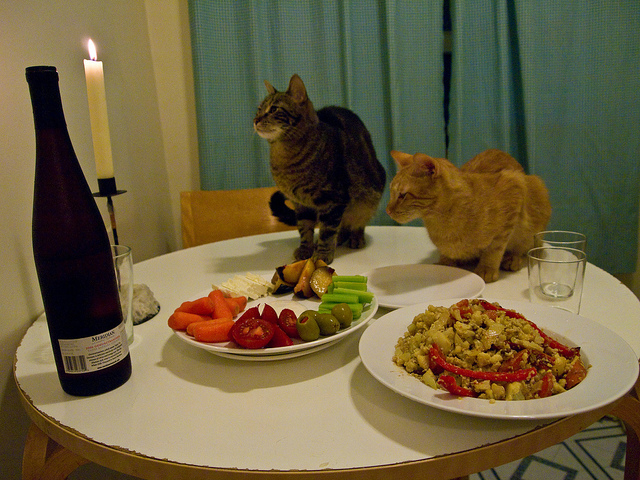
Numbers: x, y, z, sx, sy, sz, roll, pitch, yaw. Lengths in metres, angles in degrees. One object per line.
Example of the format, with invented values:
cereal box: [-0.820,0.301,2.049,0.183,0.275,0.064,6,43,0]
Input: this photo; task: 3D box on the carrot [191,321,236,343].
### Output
carrot: [-0.232,0.206,1.203,0.084,0.046,0.027,-7,41,-10]

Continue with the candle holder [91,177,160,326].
candle holder: [-0.496,0.067,1.442,0.124,0.453,0.142,-2,15,-9]

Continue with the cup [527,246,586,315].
cup: [0.633,0.107,1.426,0.132,0.164,0.140,-6,15,2]

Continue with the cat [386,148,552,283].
cat: [0.464,-0.100,1.674,0.460,0.383,0.322,4,20,24]

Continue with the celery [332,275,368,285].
celery: [0.079,0.099,1.371,0.104,0.030,0.030,1,-2,4]

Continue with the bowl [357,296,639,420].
bowl: [0.355,0.251,1.112,0.324,0.061,0.318,-1,12,0]

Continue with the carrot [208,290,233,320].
carrot: [-0.240,0.159,1.309,0.036,0.032,0.081,-8,32,-18]

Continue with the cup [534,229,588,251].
cup: [0.656,0.001,1.479,0.084,0.075,0.096,-2,7,0]

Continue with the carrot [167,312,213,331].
carrot: [-0.303,0.180,1.259,0.094,0.039,0.044,-3,2,-15]

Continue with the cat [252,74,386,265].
cat: [0.015,-0.279,2.002,0.557,0.689,0.351,-21,28,-41]

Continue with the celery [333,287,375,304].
celery: [0.086,0.137,1.361,0.111,0.036,0.037,10,58,3]

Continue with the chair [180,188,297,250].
chair: [-0.339,-0.146,2.271,0.371,0.304,0.365,-8,15,-30]

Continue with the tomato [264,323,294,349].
tomato: [-0.090,0.214,1.193,0.061,0.055,0.064,-2,18,7]

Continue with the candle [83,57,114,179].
candle: [-0.550,-0.287,1.345,0.051,0.334,0.050,7,15,34]

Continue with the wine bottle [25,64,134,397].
wine bottle: [-0.509,-0.001,1.089,0.154,0.661,0.134,-12,20,-23]

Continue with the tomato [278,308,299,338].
tomato: [-0.068,0.191,1.248,0.043,0.024,0.070,-7,34,-20]
